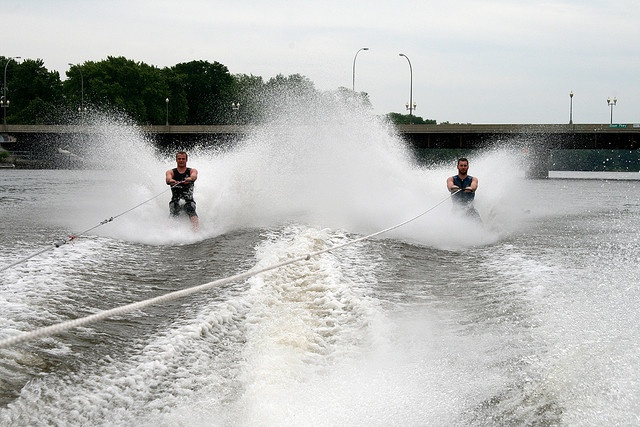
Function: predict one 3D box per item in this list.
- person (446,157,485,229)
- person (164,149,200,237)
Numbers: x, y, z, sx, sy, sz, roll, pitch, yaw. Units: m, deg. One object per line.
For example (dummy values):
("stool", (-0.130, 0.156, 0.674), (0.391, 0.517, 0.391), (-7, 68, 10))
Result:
("person", (3.050, -0.489, 14.130), (0.735, 1.347, 2.627), (3, 7, 12))
("person", (-2.807, -0.496, 13.791), (0.665, 1.528, 1.250), (0, 7, -12))
